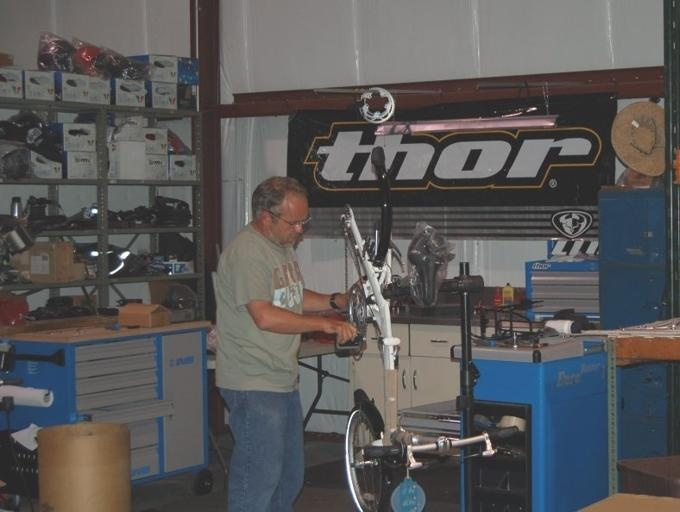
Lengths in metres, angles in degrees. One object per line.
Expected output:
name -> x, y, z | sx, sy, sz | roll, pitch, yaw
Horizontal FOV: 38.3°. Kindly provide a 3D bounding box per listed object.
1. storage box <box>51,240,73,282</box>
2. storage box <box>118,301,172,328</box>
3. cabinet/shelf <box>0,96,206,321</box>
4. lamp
storage box -> -2.154, 0.056, 7.583 | 0.164, 0.317, 0.073 | 0, 2, -25
storage box -> -1.501, 0.461, 7.469 | 0.385, 0.164, 0.245 | 0, 2, -15
cabinet/shelf -> -1.967, -0.388, 7.929 | 0.530, 1.761, 1.825 | -2, -1, 37
lamp -> 1.118, -1.217, 8.822 | 1.686, 0.209, 0.213 | 2, 2, 24
